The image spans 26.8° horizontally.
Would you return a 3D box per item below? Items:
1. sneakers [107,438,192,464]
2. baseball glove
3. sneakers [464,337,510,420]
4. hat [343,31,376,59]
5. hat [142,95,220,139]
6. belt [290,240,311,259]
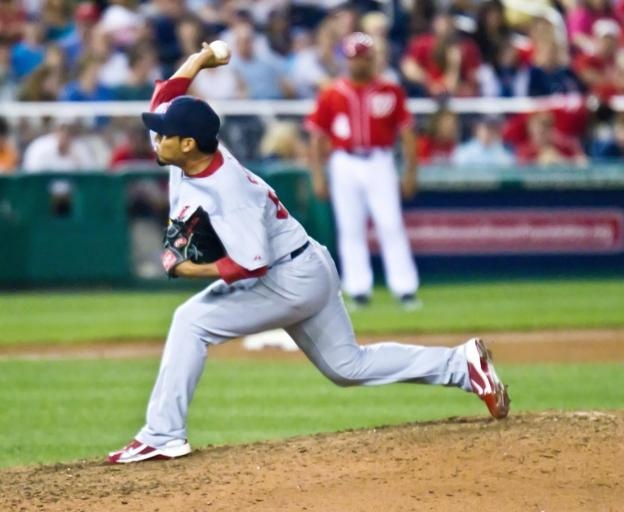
[{"bbox_3d":[-1.101,1.341,8.945,0.561,0.230,0.207,2,-3,0],"label":"sneakers"},{"bbox_3d":[-0.814,-0.083,8.805,0.367,0.164,0.374,8,-24,20],"label":"baseball glove"},{"bbox_3d":[1.214,0.869,9.313,0.244,0.652,0.233,-15,7,10],"label":"sneakers"},{"bbox_3d":[0.444,-2.038,12.753,0.259,0.225,0.124,21,-18,34],"label":"hat"},{"bbox_3d":[-0.878,-0.932,8.806,0.520,0.277,0.376,7,22,-8],"label":"hat"},{"bbox_3d":[-0.081,-0.032,8.891,0.110,0.040,0.093,-41,9,-26],"label":"belt"}]
